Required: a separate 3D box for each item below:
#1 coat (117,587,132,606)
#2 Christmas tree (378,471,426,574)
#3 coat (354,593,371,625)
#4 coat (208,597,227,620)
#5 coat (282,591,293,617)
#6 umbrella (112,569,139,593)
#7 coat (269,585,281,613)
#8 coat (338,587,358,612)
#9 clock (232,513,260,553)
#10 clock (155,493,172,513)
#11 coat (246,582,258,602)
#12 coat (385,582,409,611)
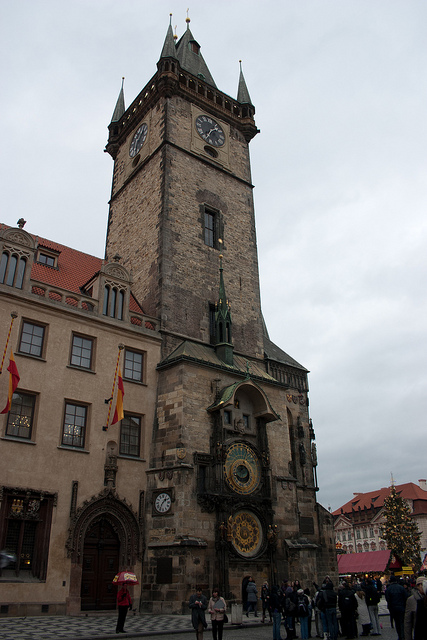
[{"bbox_3d":[-2.172,6.654,11.861,0.287,0.388,0.545,1,-24,-11],"label":"coat"},{"bbox_3d":[20.588,22.332,54.350,3.421,9.229,4.418,-12,-25,17],"label":"Christmas tree"},{"bbox_3d":[3.883,7.521,12.825,0.277,0.745,0.395,-9,-24,12],"label":"coat"},{"bbox_3d":[0.042,6.077,10.387,0.450,0.493,0.301,-2,-54,1],"label":"coat"},{"bbox_3d":[1.789,6.902,11.947,0.226,0.484,0.421,-7,-24,6],"label":"coat"},{"bbox_3d":[-2.234,6.513,12.385,0.520,0.311,1.095,1,-24,-11],"label":"umbrella"},{"bbox_3d":[1.488,6.823,12.009,0.239,0.517,0.733,-6,-24,3],"label":"coat"},{"bbox_3d":[3.435,7.183,12.648,0.464,0.524,0.616,-9,-24,10],"label":"coat"},{"bbox_3d":[1.353,8.688,20.158,0.297,1.486,1.561,-20,-28,32],"label":"clock"},{"bbox_3d":[-1.971,7.071,19.063,0.117,0.678,0.875,17,-31,-39],"label":"clock"},{"bbox_3d":[1.368,10.008,18.102,0.325,0.633,0.577,-13,-25,20],"label":"coat"},{"bbox_3d":[3.983,6.036,10.722,0.408,0.523,0.532,-11,-25,15],"label":"coat"}]
